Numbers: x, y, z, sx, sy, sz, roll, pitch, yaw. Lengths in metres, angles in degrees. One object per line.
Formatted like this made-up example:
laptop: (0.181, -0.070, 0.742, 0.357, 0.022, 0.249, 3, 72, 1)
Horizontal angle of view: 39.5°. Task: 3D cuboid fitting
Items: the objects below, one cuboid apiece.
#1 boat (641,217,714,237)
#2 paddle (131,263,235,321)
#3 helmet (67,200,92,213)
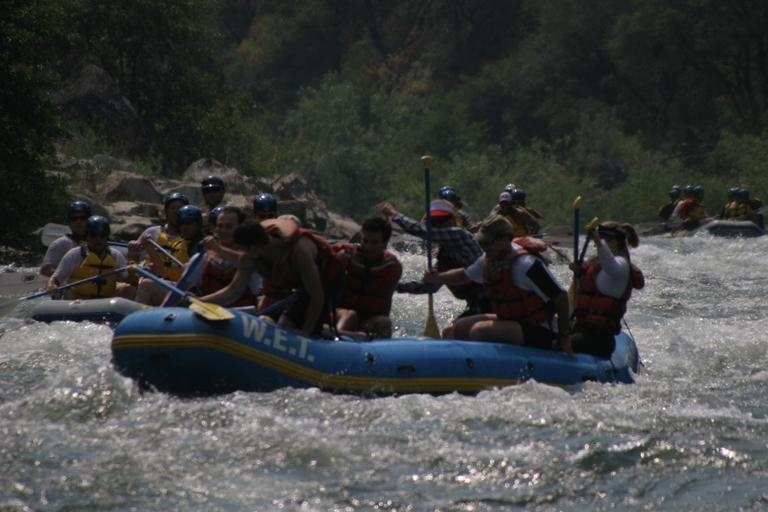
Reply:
boat: (10.049, -0.920, 36.391, 0.938, 0.330, 1.931, -6, -6, -32)
paddle: (-4.668, 0.897, 22.863, 3.120, 0.162, 0.754, 18, 9, -46)
helmet: (-7.532, -1.246, 26.384, 0.489, 0.388, 0.366, -9, -11, 38)
